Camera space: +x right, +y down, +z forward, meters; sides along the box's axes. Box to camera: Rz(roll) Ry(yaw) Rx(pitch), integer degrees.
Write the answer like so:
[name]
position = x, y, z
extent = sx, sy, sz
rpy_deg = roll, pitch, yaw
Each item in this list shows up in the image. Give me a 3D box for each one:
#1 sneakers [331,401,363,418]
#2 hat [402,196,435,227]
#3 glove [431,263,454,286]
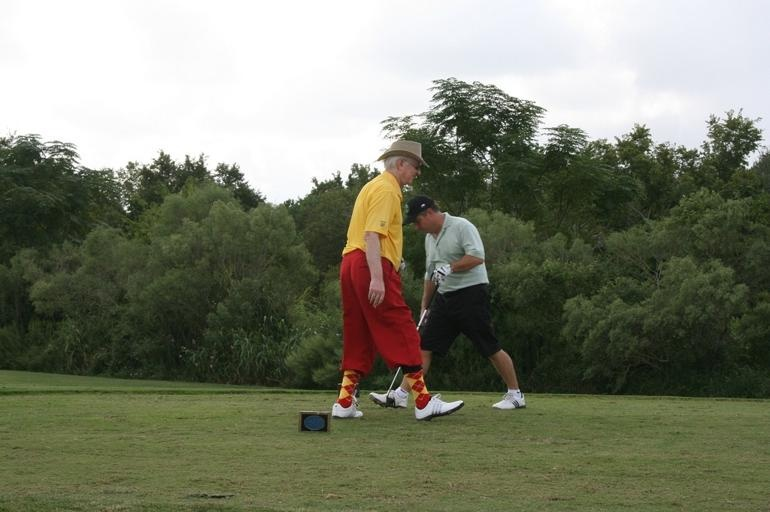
[sneakers]
position = -0.545, 2.211, 13.317
extent = 0.494, 0.201, 0.181
rpy_deg = 4, -2, -23
[hat]
position = 0.476, -0.752, 14.298
extent = 0.509, 0.282, 0.352
rpy_deg = -31, 14, -5
[glove]
position = 0.839, 0.257, 14.087
extent = 0.310, 0.288, 0.254
rpy_deg = -2, 2, 32
